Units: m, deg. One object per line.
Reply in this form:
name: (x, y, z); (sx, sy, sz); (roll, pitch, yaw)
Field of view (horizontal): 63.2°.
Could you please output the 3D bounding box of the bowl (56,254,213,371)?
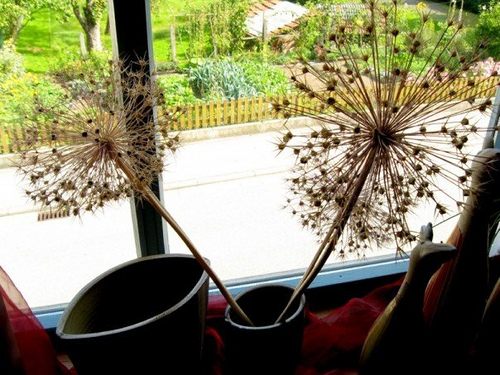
bowl: (-0.276, 0.309, 0.975); (0.287, 0.214, 0.272); (-24, 13, 6)
